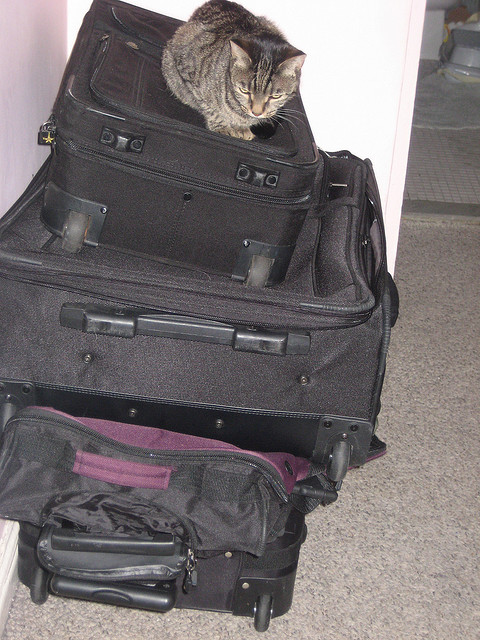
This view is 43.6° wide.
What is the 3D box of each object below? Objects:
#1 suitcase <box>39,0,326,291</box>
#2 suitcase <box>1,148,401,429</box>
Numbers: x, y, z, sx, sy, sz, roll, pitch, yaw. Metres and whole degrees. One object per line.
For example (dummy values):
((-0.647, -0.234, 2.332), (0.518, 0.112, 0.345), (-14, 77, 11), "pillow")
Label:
((-0.083, -0.260, 0.747), (0.317, 0.166, 0.382), (14, 48, -23), "suitcase")
((-0.070, 0.028, 0.790), (0.432, 0.175, 0.354), (13, 46, -15), "suitcase")
